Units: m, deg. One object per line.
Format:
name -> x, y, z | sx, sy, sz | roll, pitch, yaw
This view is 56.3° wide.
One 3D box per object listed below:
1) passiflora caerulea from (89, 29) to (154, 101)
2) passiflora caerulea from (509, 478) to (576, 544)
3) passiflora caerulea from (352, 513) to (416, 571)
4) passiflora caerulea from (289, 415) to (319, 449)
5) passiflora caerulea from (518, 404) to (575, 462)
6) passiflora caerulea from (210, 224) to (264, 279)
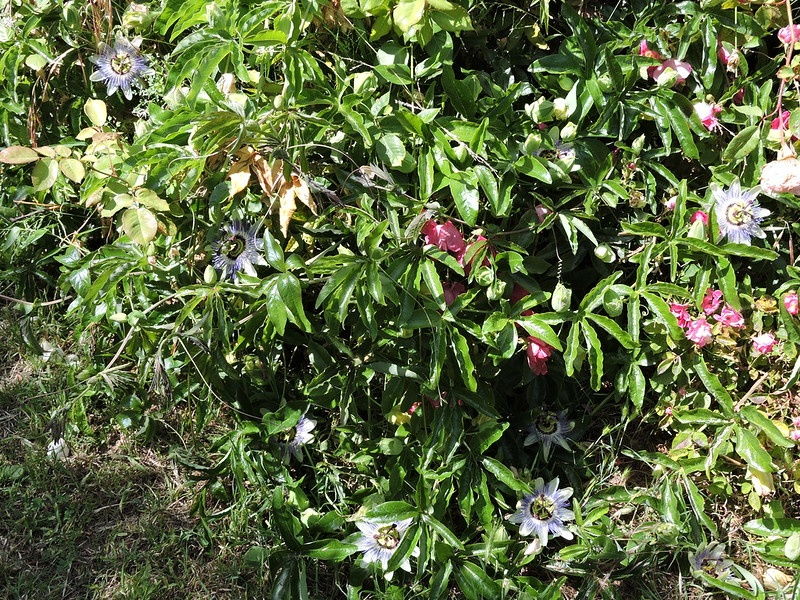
passiflora caerulea -> -0.882, -0.765, 2.328 | 0.182, 0.055, 0.171 | -11, 0, -41
passiflora caerulea -> 0.390, 0.545, 2.108 | 0.163, 0.178, 0.075 | -8, 55, -20
passiflora caerulea -> -0.039, 0.624, 1.970 | 0.148, 0.167, 0.148 | 4, 42, -8
passiflora caerulea -> -0.278, 0.382, 2.191 | 0.076, 0.093, 0.046 | 4, -16, 25
passiflora caerulea -> 0.437, 0.357, 2.215 | 0.186, 0.098, 0.214 | 7, 18, 22
passiflora caerulea -> -0.456, -0.138, 2.078 | 0.134, 0.168, 0.072 | -4, -1, 20
